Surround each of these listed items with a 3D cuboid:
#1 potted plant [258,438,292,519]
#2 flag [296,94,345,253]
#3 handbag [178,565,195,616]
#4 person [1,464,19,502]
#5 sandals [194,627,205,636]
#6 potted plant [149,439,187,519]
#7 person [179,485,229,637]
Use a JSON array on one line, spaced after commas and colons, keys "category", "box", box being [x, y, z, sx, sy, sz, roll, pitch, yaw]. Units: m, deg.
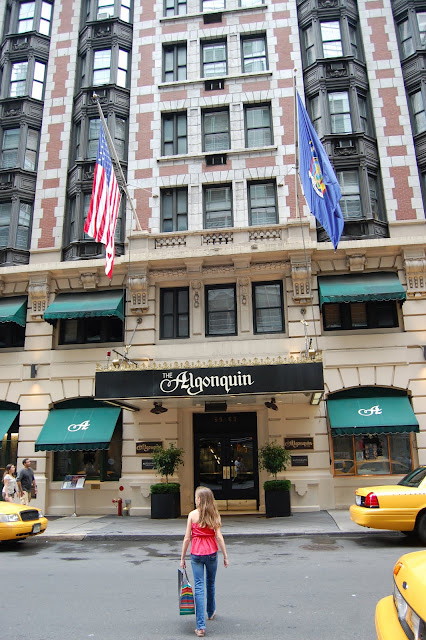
[{"category": "potted plant", "box": [1.866, 4.751, 15.737, 0.875, 2.099, 1.337, -3, -13, 5]}, {"category": "flag", "box": [3.015, -4.583, 15.336, 1.393, 4.945, 0.653, 5, -14, -26]}, {"category": "handbag", "box": [-0.254, 2.627, 5.060, 0.139, 0.407, 0.227, -1, -13, -4]}, {"category": "person", "box": [-5.528, 4.452, 14.385, 0.391, 0.937, 1.397, 3, -14, -20]}, {"category": "sandals", "box": [-0.123, 2.975, 4.996, 0.064, 0.061, 0.140, 2, -10, -3]}, {"category": "potted plant", "box": [-1.442, 5.068, 16.550, 0.964, 2.267, 1.449, -1, -13, -4]}, {"category": "person", "box": [-0.111, 2.547, 5.689, 0.500, 1.411, 1.342, -2, -13, 0]}]
